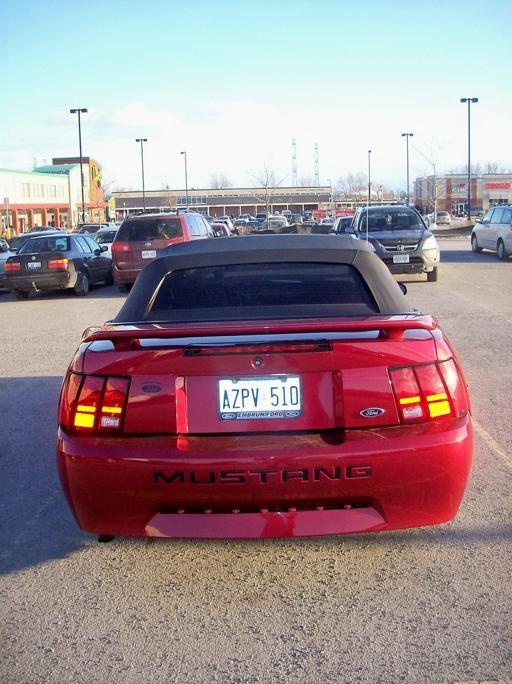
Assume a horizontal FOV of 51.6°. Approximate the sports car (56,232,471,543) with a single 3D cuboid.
[{"bbox_3d":[0.038,-0.022,3.296,1.675,1.181,2.875,-1,13,3],"label":"sports car"}]
